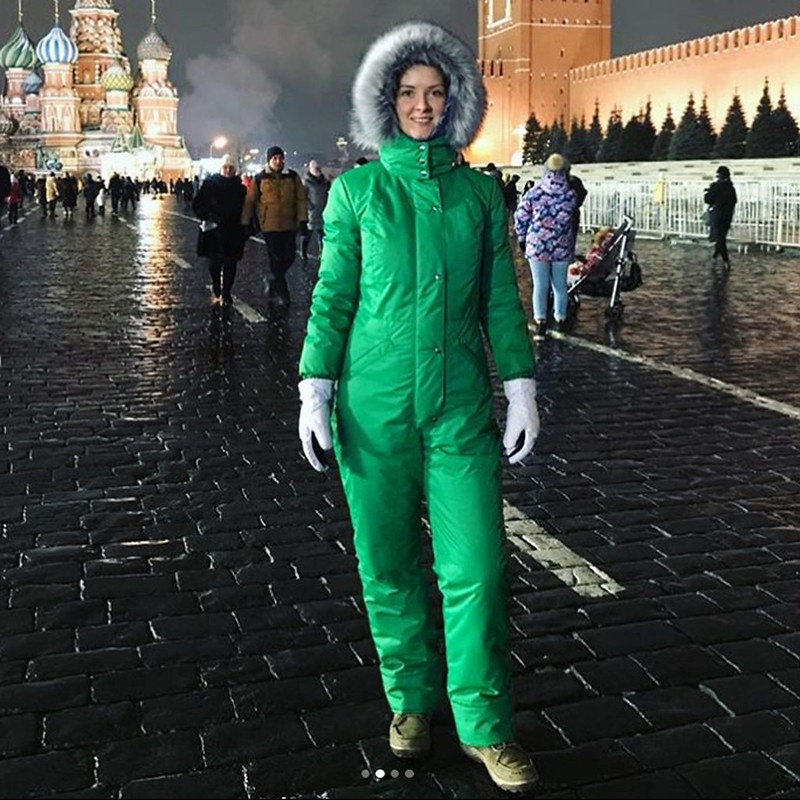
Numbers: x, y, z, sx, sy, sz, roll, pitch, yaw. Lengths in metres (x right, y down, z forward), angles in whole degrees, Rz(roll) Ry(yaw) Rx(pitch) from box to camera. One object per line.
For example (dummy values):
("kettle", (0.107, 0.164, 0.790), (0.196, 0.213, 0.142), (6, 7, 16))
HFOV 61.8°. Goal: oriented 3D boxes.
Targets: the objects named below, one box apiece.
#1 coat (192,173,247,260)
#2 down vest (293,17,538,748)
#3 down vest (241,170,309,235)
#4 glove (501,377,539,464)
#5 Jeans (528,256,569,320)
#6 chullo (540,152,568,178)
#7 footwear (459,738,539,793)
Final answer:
("coat", (-2.709, -2.781, 10.101), (0.766, 1.274, 0.552), (-2, 8, -12))
("down vest", (0.038, -0.046, 1.466), (0.461, 1.539, 0.291), (2, 9, 16))
("down vest", (-1.888, -3.107, 10.238), (1.028, 0.878, 0.521), (-3, 23, -8))
("glove", (0.276, 0.045, 1.555), (0.115, 0.173, 0.050), (4, -7, -6))
("Jeans", (1.819, -1.538, 8.137), (0.465, 1.464, 0.323), (-1, 51, 10))
("chullo", (1.817, -2.749, 7.801), (0.311, 0.168, 0.340), (4, -5, -5))
("footwear", (0.210, 0.749, 1.393), (0.065, 0.058, 0.155), (4, -10, -29))
